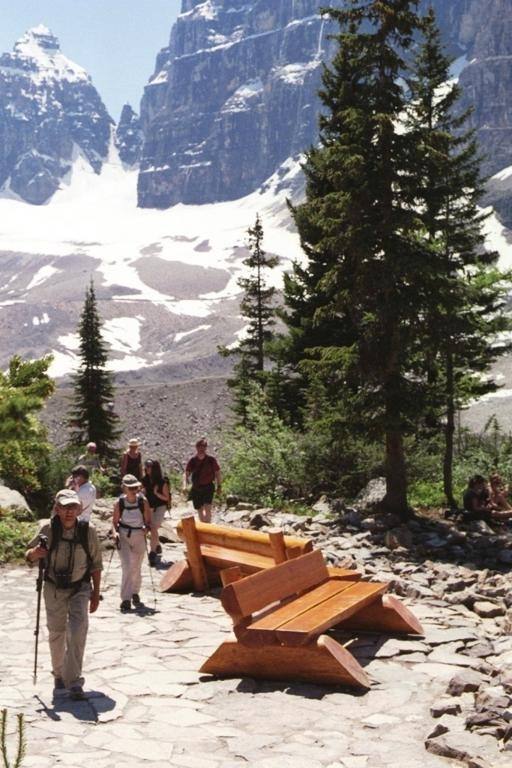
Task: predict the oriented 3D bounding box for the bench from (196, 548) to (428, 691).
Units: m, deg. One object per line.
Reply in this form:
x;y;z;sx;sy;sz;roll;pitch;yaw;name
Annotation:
0.534;2.277;7.863;1.488;0.984;1.673;-1;-2;33;bench

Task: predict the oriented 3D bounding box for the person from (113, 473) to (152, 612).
-1.615;2.024;10.439;0.444;1.684;0.555;0;-1;-10;person

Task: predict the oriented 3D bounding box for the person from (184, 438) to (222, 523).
-0.920;1.684;13.768;0.597;1.499;2.055;0;-1;-4;person

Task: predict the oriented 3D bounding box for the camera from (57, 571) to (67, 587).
-1.803;1.804;7.481;0.128;0.124;0.073;-2;-6;27;camera

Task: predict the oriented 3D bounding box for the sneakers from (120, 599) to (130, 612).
-1.661;2.810;10.247;0.134;0.102;0.225;0;-1;-11;sneakers

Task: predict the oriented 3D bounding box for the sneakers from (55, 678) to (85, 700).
-1.648;2.699;7.136;0.348;0.144;0.120;8;0;42;sneakers

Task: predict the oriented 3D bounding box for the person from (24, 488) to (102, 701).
-1.781;1.880;7.487;0.666;1.729;0.747;0;-1;-12;person
